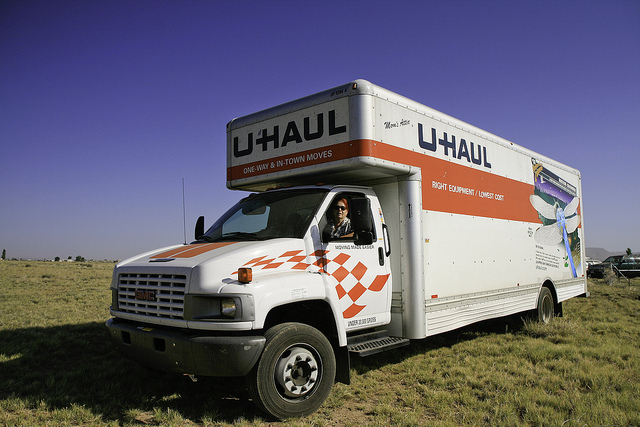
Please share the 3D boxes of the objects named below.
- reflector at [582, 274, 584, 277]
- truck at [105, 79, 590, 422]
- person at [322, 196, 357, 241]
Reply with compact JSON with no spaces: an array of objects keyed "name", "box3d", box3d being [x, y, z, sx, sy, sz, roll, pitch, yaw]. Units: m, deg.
[{"name":"reflector","box3d":[7.967,1.890,12.791,0.031,0.062,0.032,-2,2,-17]},{"name":"truck","box3d":[2.133,0.988,11.051,13.084,5.847,4.849,8,-11,-43]},{"name":"person","box3d":[0.272,0.079,7.343,0.643,0.809,0.210,6,-11,-41]}]
